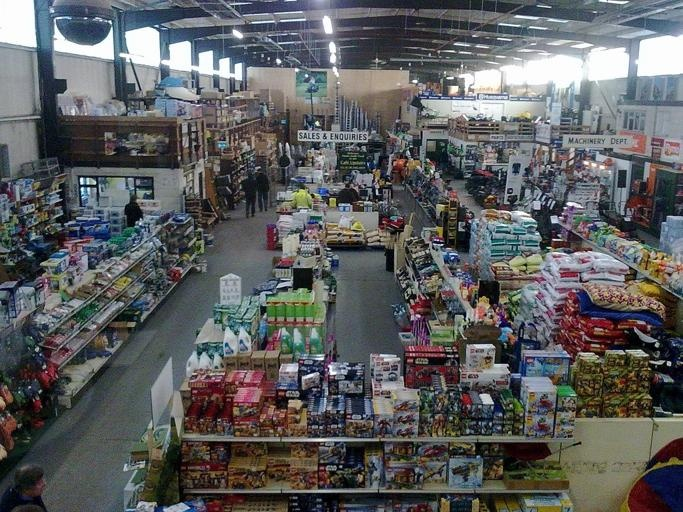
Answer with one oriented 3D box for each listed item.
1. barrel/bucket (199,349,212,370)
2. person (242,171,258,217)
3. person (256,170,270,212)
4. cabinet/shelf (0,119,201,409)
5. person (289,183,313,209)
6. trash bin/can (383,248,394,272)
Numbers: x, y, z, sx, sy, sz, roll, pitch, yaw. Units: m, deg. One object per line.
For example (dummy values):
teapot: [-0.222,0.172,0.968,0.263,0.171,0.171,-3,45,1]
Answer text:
barrel/bucket: [-1.622,1.254,6.275,0.149,0.204,0.209,-1,-16,-3]
person: [-3.149,-2.169,18.378,0.479,1.471,1.079,-5,17,-8]
person: [-2.812,-2.342,18.963,0.407,1.488,0.794,-4,17,-8]
cabinet/shelf: [-4.307,0.349,10.078,1.357,1.422,6.079,4,19,2]
person: [-1.158,-1.656,15.606,0.644,0.506,1.101,-3,17,-4]
trash bin/can: [1.199,0.087,13.080,0.194,0.483,0.483,0,17,8]
